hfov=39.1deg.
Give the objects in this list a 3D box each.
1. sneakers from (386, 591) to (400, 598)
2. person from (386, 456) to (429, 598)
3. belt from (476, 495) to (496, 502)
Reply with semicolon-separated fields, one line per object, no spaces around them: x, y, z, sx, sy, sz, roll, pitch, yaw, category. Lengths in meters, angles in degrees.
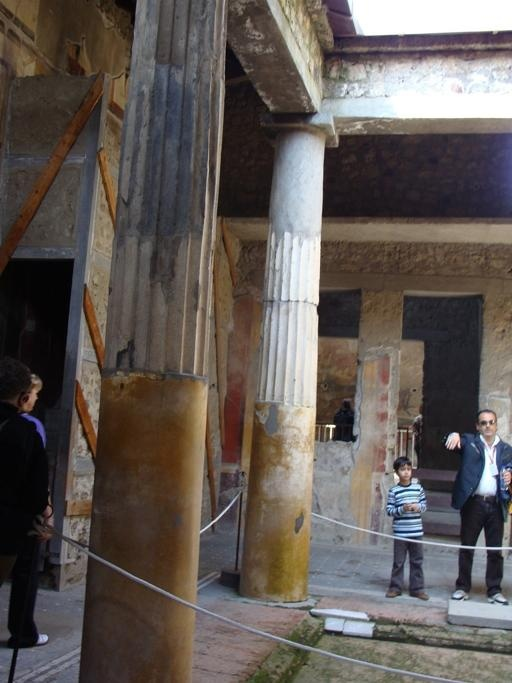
0.987;1.849;5.226;0.036;0.055;0.121;-6;-21;18;sneakers
1.147;1.407;5.477;0.304;1.008;0.701;1;-8;11;person
1.664;1.157;5.240;0.146;0.059;0.038;4;-8;-4;belt
